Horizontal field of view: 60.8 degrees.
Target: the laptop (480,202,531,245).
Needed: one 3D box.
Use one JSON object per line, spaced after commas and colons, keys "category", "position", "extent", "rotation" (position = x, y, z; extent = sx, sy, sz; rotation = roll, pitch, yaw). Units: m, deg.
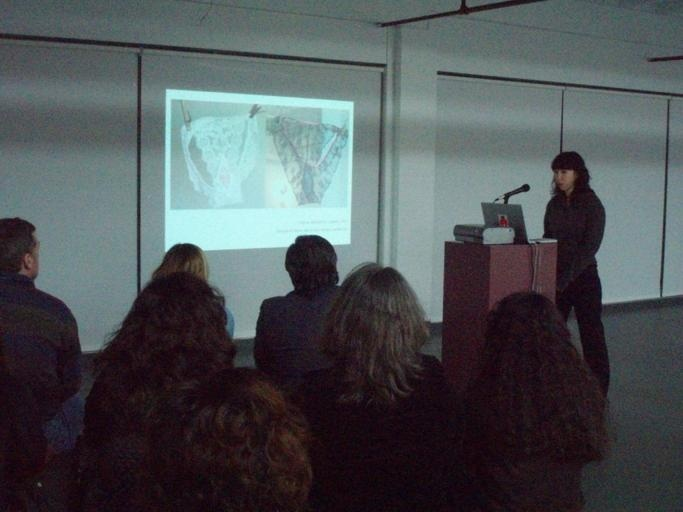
{"category": "laptop", "position": [1.064, -0.215, 3.582], "extent": [0.324, 0.236, 0.289], "rotation": [3, -4, -30]}
